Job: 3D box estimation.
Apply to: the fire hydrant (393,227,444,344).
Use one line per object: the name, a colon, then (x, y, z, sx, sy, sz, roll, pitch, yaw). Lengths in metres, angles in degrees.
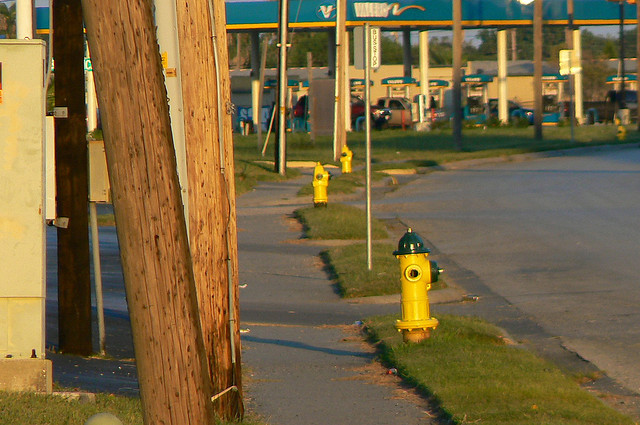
fire hydrant: (1.824, 1.387, 32.634, 0.828, 2.141, 0.410, -1, 8, 3)
